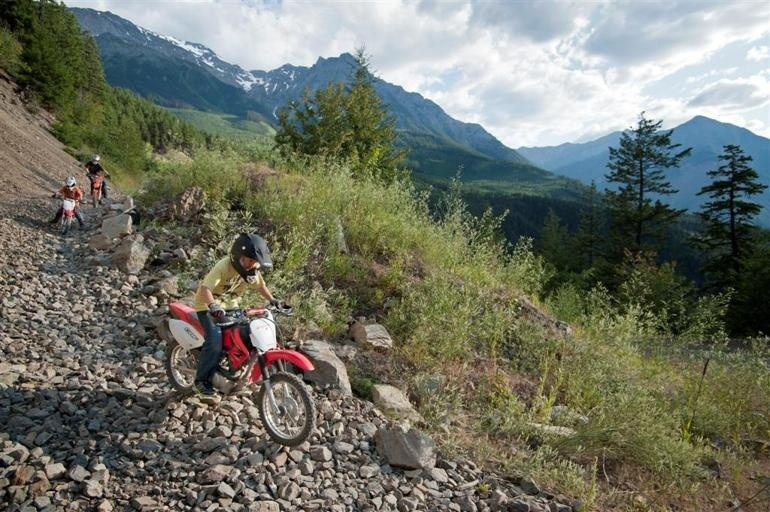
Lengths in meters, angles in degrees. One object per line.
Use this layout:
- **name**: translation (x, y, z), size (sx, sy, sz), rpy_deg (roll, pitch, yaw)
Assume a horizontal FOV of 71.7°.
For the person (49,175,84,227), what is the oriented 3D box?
- **person**: translation (-11.924, -1.761, 20.369), size (0.985, 1.237, 1.879), rpy_deg (5, 9, -13)
